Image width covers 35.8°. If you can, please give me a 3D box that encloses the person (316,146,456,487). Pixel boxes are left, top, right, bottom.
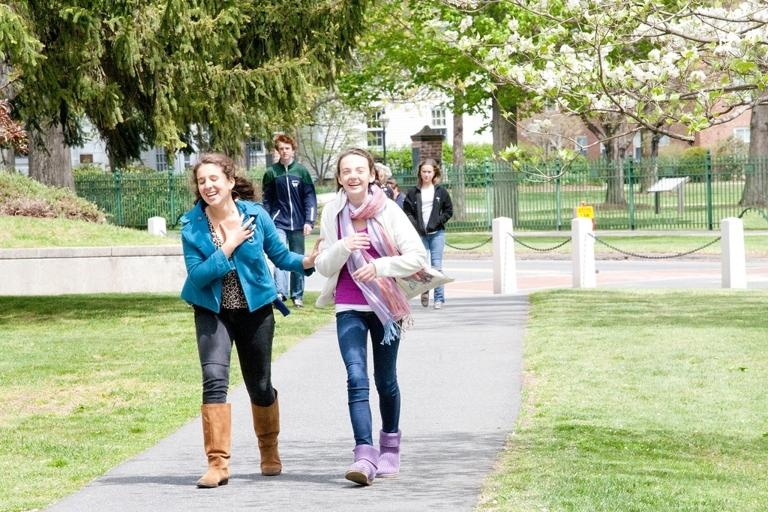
[{"bbox_3d":[-0.077,0.535,11.258,1.035,3.065,0.916,-4,9,-18],"label":"person"}]

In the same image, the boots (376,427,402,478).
[{"bbox_3d":[0.051,1.871,11.340,0.235,0.345,0.767,0,4,7],"label":"boots"}]

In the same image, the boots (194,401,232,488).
[{"bbox_3d":[-1.570,1.762,11.056,0.317,0.750,0.275,-2,8,-9],"label":"boots"}]

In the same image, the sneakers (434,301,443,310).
[{"bbox_3d":[0.863,0.790,18.614,0.098,0.127,0.306,0,-4,4],"label":"sneakers"}]

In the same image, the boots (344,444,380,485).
[{"bbox_3d":[-0.204,1.936,11.041,0.216,0.292,0.662,-25,-17,21],"label":"boots"}]

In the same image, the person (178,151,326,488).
[{"bbox_3d":[-1.370,0.572,11.232,1.014,3.032,0.852,-3,8,-10],"label":"person"}]
